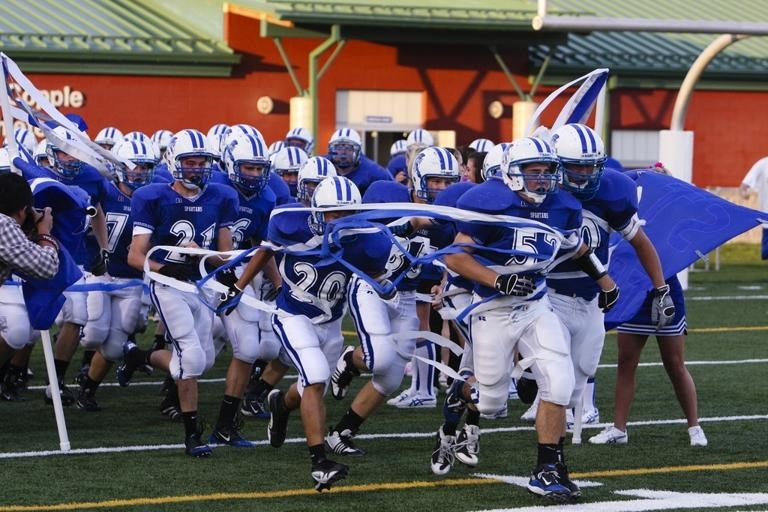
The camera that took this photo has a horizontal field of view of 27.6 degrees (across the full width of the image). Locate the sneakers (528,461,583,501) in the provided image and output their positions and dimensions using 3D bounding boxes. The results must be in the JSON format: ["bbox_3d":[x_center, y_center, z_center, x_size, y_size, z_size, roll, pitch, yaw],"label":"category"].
[{"bbox_3d":[1.589,2.081,14.401,0.495,0.228,0.254,-2,-1,45],"label":"sneakers"}]

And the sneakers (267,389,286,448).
[{"bbox_3d":[-1.069,1.599,15.417,0.184,0.550,0.232,1,5,-20],"label":"sneakers"}]

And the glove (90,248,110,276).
[{"bbox_3d":[-3.009,0.069,16.520,0.105,0.284,0.201,5,-8,-41],"label":"glove"}]

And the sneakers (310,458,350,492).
[{"bbox_3d":[-0.522,2.011,14.581,0.189,0.293,0.489,8,-26,-36],"label":"sneakers"}]

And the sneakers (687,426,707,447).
[{"bbox_3d":[3.158,1.812,15.611,0.119,0.134,0.232,-2,-8,4],"label":"sneakers"}]

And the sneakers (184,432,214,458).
[{"bbox_3d":[-1.812,1.861,15.275,0.158,0.139,0.306,1,-6,-37],"label":"sneakers"}]

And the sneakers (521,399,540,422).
[{"bbox_3d":[1.587,1.663,16.528,0.134,0.184,0.393,6,-4,25],"label":"sneakers"}]

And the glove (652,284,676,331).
[{"bbox_3d":[2.699,0.489,15.152,0.281,0.389,0.151,9,-5,-24],"label":"glove"}]

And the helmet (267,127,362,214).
[{"bbox_3d":[-0.665,-0.725,15.554,0.457,0.505,0.609,2,10,-24],"label":"helmet"}]

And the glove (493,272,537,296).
[{"bbox_3d":[1.218,0.267,14.458,0.369,0.205,0.130,0,5,4],"label":"glove"}]

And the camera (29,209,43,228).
[{"bbox_3d":[-3.394,-0.365,15.097,0.128,0.179,0.070,6,2,-15],"label":"camera"}]

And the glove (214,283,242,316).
[{"bbox_3d":[-1.509,0.456,15.210,0.210,0.367,0.135,38,13,25],"label":"glove"}]
